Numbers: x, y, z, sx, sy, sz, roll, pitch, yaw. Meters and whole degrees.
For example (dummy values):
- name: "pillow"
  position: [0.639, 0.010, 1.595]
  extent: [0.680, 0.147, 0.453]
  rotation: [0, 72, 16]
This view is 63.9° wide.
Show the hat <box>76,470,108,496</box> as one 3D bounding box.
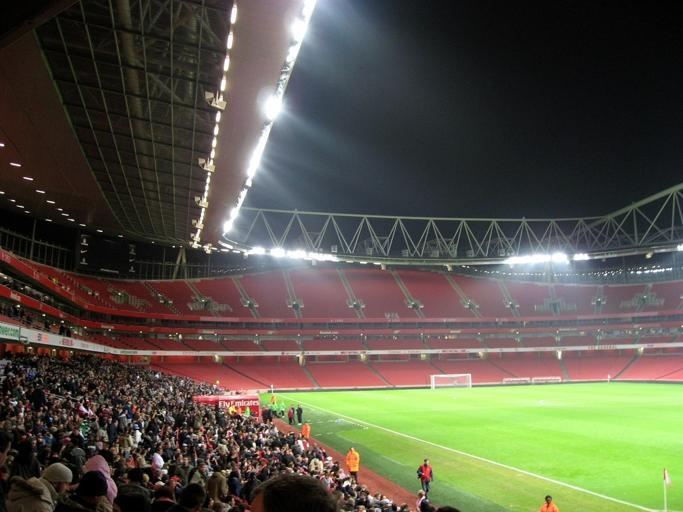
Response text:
- name: "hat"
  position: [-3.982, 3.603, 8.815]
  extent: [0.349, 0.394, 0.458]
  rotation: [5, 3, 21]

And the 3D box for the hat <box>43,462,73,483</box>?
- name: "hat"
  position: [-4.998, 3.819, 9.691]
  extent: [0.398, 0.249, 0.388]
  rotation: [12, -12, 4]
